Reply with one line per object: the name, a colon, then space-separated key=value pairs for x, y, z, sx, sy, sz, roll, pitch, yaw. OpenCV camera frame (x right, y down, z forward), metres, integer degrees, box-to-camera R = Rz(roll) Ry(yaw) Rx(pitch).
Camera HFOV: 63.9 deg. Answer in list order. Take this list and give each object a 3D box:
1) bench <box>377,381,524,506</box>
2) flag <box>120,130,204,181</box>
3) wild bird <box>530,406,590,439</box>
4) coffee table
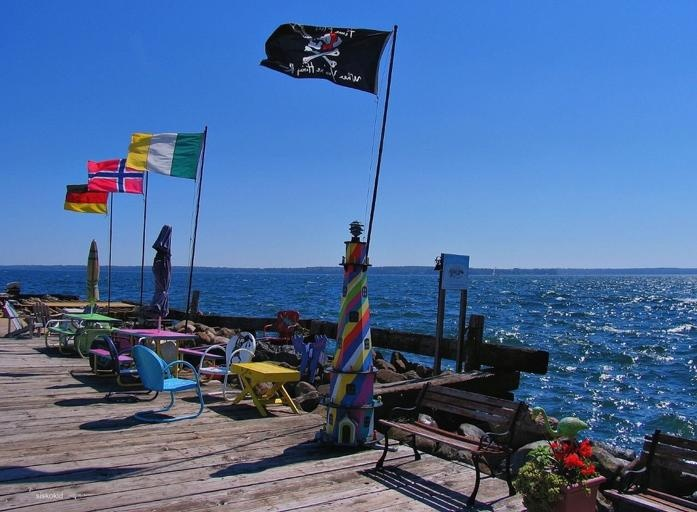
bench: x=1.344 y=2.595 z=7.700 sx=0.978 sy=0.895 sz=2.098 roll=7 pitch=-7 yaw=-35
flag: x=-5.267 y=-2.805 z=15.754 sx=2.166 sy=1.245 sz=0.955 roll=3 pitch=0 yaw=32
wild bird: x=2.370 y=1.906 z=6.289 sx=0.592 sy=0.376 sz=0.615 roll=3 pitch=0 yaw=17
coffee table: x=-1.364 y=2.161 z=9.503 sx=1.027 sy=0.471 sz=1.260 roll=-1 pitch=3 yaw=-34
